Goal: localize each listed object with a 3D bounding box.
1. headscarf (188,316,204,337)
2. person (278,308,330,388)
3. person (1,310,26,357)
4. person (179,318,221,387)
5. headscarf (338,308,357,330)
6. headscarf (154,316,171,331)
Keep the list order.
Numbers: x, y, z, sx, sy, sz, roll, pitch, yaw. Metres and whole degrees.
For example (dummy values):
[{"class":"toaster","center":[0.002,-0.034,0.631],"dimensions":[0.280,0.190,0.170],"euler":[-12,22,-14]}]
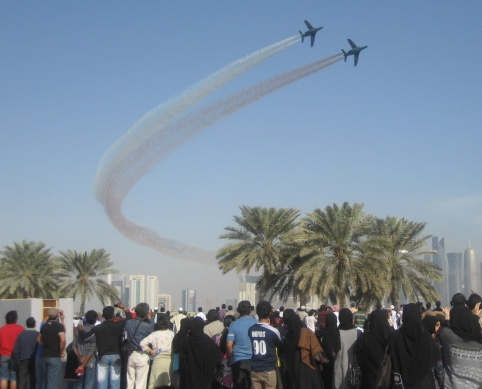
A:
[{"class":"headscarf","center":[-0.801,2.473,10.836],"dimensions":[0.236,0.363,0.337],"euler":[3,4,5]},{"class":"person","center":[1.201,2.916,11.083],"dimensions":[0.926,1.511,1.369],"euler":[-3,-14,8]},{"class":"person","center":[-5.420,3.283,13.753],"dimensions":[0.453,1.131,0.502],"euler":[0,-4,-14]},{"class":"person","center":[-0.756,3.004,10.851],"dimensions":[0.663,1.362,0.705],"euler":[1,-2,-21]},{"class":"headscarf","center":[2.075,2.453,11.391],"dimensions":[0.392,0.313,0.380],"euler":[1,-55,-6]},{"class":"headscarf","center":[-1.628,2.660,12.036],"dimensions":[0.261,0.202,0.385],"euler":[5,-51,-5]}]
